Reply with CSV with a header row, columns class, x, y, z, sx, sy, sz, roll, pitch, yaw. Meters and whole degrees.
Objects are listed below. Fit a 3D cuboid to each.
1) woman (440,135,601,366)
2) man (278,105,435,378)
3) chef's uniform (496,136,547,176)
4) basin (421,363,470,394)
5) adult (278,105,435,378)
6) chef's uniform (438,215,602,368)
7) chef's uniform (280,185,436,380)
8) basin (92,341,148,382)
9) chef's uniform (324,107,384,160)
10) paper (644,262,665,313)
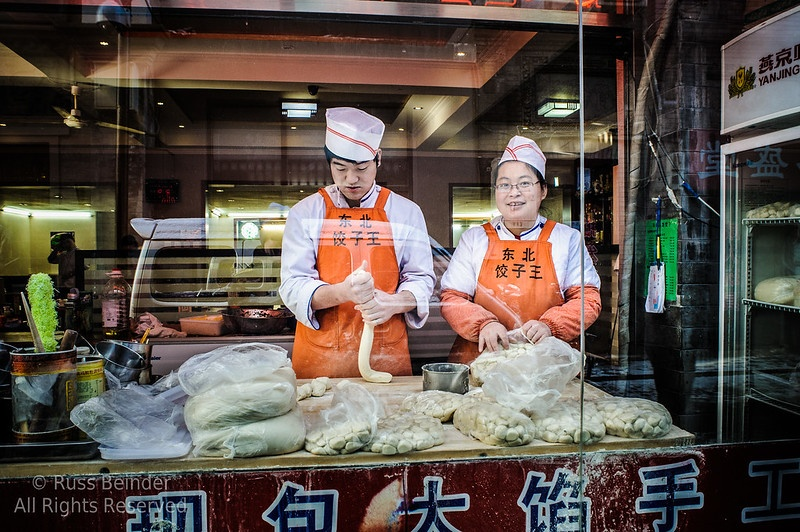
class,x,y,z,sx,sy,sz,roll,pitch,yaw
woman,0.467,0.038,2.912,0.671,1.018,0.593,0,15,7
man,-0.159,-0.091,2.911,0.609,1.060,0.234,0,-7,-10
chef's uniform,0.485,-0.464,2.974,0.168,0.132,0.158,6,20,-23
basin,0.187,0.429,2.834,0.127,0.081,0.130,1,-3,0
adult,-0.162,-0.060,2.899,0.612,1.069,0.595,2,15,4
chef's uniform,0.483,0.126,2.990,0.645,0.599,0.395,0,25,7
chef's uniform,-0.188,0.042,2.887,0.739,0.895,0.501,-1,7,-10
basin,-1.046,0.357,2.743,0.191,0.159,0.058,-1,-7,-5
chef's uniform,-0.200,-0.490,2.912,0.246,0.130,0.212,9,29,-42
paper,1.133,0.096,3.240,0.048,0.230,0.173,-7,-9,41
